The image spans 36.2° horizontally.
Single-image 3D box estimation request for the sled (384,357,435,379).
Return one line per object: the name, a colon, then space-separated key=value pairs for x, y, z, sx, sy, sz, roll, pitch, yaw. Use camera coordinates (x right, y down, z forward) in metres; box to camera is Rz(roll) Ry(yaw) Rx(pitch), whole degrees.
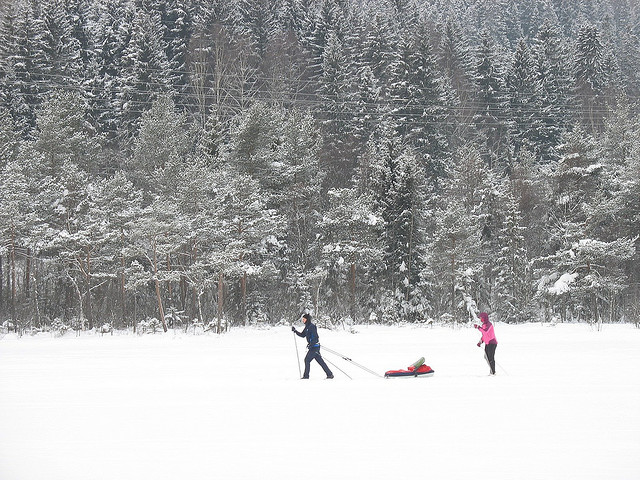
sled: x=5.575 y=7.835 z=60.656 sx=3.022 sy=1.414 sz=1.278 roll=1 pitch=-9 yaw=-3
